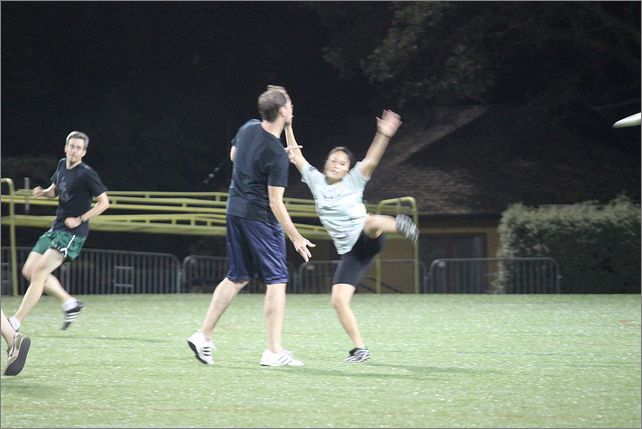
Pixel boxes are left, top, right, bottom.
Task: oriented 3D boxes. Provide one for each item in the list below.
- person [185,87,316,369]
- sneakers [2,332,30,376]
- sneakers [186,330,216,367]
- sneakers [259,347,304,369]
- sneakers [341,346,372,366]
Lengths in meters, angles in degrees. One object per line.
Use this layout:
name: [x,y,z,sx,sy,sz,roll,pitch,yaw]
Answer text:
person: [-0.841,0.160,11.789,1.345,3.739,0.373,4,-3,-1]
sneakers: [-3.720,1.703,11.033,0.295,0.561,0.235,20,1,15]
sneakers: [-1.571,1.747,11.856,0.300,0.540,0.189,-22,24,10]
sneakers: [-0.572,1.928,11.776,0.653,0.205,0.202,2,-5,-5]
sneakers: [0.508,1.899,12.070,0.429,0.155,0.148,-9,-4,27]
